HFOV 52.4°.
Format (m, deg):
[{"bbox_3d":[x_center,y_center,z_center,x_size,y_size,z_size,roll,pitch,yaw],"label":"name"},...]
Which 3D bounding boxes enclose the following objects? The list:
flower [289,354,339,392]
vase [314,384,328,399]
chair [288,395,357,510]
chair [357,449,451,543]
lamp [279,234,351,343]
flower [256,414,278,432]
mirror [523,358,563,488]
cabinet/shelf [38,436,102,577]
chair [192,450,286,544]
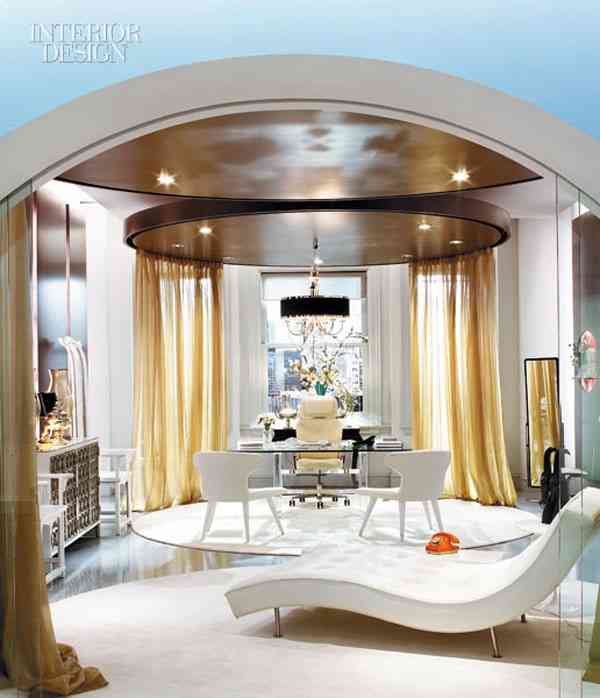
[{"bbox_3d":[0.173,0.286,7.532,0.491,0.513,0.506,-14,-11,31],"label":"flower"},{"bbox_3d":[0.238,0.483,7.230,0.128,0.159,0.129,-4,-4,22],"label":"vase"},{"bbox_3d":[0.216,1.138,6.771,0.660,1.195,0.595,2,-8,-14],"label":"chair"},{"bbox_3d":[1.048,1.115,5.242,0.774,0.914,0.797,5,-5,-38],"label":"chair"},{"bbox_3d":[0.197,-0.644,7.120,0.921,1.585,0.949,1,-2,-13],"label":"lamp"},{"bbox_3d":[-0.383,0.811,6.844,0.197,0.204,0.200,-2,-2,32],"label":"flower"},{"bbox_3d":[2.728,0.847,6.936,0.270,1.524,0.709,-1,-4,3],"label":"mirror"},{"bbox_3d":[-1.740,1.178,4.577,0.299,0.640,1.025,-1,-2,-7],"label":"cabinet/shelf"},{"bbox_3d":[-0.490,1.206,5.372,0.757,0.888,0.793,-1,-3,23],"label":"chair"}]
